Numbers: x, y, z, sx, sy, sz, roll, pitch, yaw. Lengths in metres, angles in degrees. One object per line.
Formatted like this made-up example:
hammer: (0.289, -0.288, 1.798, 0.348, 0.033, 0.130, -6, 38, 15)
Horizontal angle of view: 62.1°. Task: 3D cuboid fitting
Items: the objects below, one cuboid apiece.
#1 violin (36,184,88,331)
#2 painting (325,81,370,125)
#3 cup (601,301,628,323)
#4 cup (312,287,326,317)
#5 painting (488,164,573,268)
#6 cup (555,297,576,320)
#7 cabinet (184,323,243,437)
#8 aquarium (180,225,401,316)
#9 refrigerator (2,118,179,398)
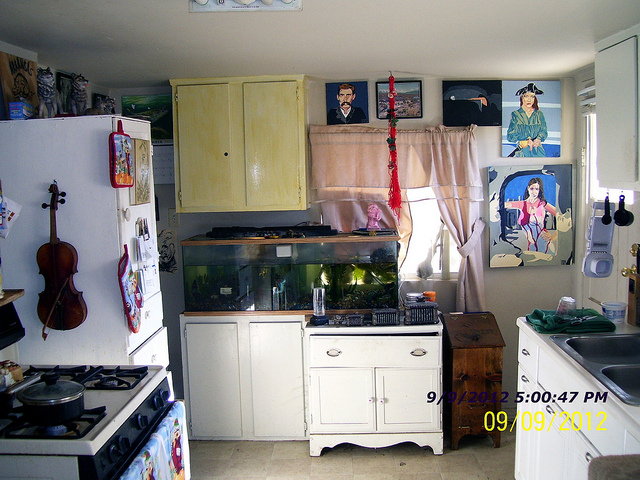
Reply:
violin: (-1.645, 0.117, 3.323, 0.280, 0.931, 0.114, -7, 9, -31)
painting: (0.237, -1.226, 4.655, 0.348, 0.354, 0.036, 0, 8, 1)
cup: (2.025, 0.487, 3.666, 0.154, 0.119, 0.169, -3, 8, 0)
cup: (-0.012, 0.498, 4.295, 0.087, 0.219, 0.100, -1, 8, 11)
painting: (1.874, -0.267, 4.705, 0.817, 1.039, 0.040, 0, 1, -1)
cup: (1.662, 0.457, 3.602, 0.133, 0.147, 0.133, 1, 3, 0)
cabinet: (-0.934, 1.146, 4.718, 0.584, 1.094, 0.598, 2, 12, 5)
aquarium: (-0.216, 0.238, 4.646, 1.805, 0.702, 0.621, 1, 14, -10)
refrigerator: (-1.556, 0.096, 3.483, 0.966, 1.785, 0.469, -5, 8, -18)
